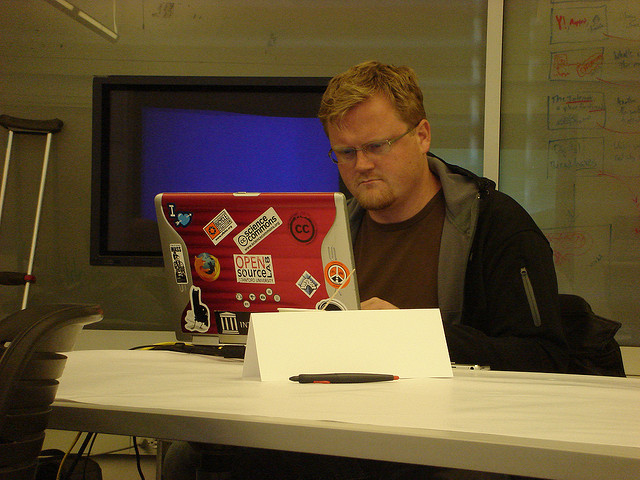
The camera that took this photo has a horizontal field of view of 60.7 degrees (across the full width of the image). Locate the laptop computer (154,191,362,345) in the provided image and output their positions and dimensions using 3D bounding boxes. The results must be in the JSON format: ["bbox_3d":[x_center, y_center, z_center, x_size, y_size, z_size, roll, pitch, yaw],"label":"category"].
[{"bbox_3d":[-0.013,0.094,1.419,0.489,0.359,0.662,10,-9,-41],"label":"laptop computer"}]

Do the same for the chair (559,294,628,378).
[{"bbox_3d":[0.839,0.290,1.680,0.256,0.193,0.210,-1,-4,0],"label":"chair"}]

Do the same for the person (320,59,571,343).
[{"bbox_3d":[0.397,-0.180,1.855,0.496,0.954,0.906,1,-1,-40],"label":"person"}]
